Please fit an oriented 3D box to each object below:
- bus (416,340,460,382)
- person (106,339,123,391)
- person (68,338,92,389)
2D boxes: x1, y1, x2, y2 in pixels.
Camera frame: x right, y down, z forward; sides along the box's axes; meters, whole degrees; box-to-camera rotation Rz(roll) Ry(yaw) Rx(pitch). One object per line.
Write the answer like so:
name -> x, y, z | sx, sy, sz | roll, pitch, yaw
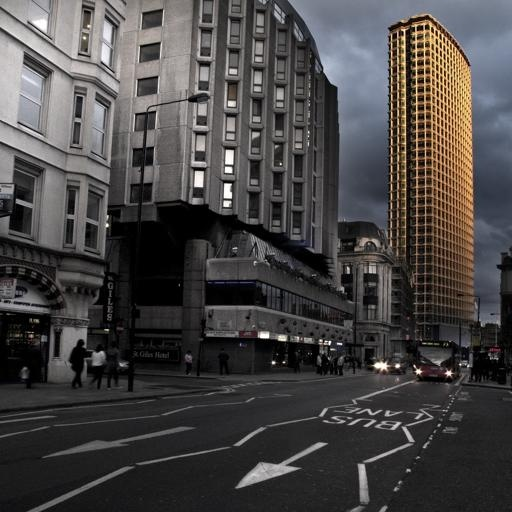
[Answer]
bus -> 13.027, 7.593, 44.548 | 2.111, 3.106, 7.403 | -1, -8, 18
person -> -5.326, 4.047, 22.905 | 0.446, 1.685, 1.430 | 3, -10, -13
person -> -6.587, 3.934, 22.906 | 0.586, 1.895, 0.504 | 6, 17, -8
